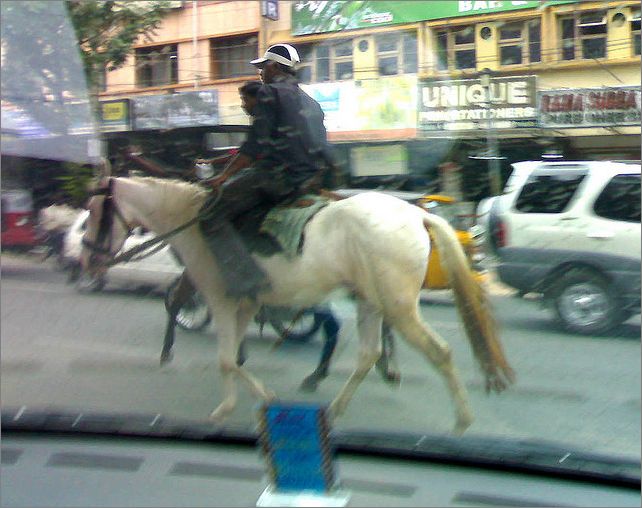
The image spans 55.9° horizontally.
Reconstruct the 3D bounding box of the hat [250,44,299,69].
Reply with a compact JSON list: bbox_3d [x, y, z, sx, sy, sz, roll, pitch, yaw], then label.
[{"bbox_3d":[-0.210,-0.943,2.894,0.239,0.076,0.115,7,16,-8],"label":"hat"}]
